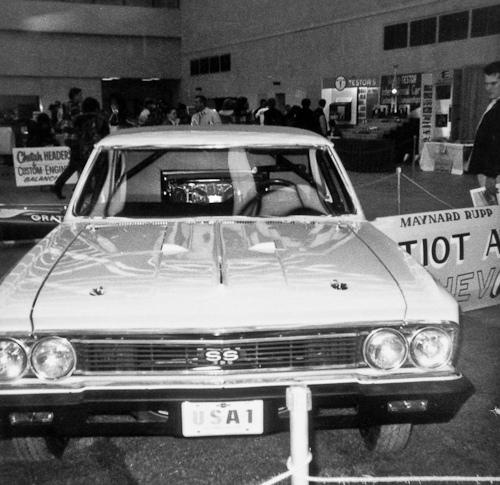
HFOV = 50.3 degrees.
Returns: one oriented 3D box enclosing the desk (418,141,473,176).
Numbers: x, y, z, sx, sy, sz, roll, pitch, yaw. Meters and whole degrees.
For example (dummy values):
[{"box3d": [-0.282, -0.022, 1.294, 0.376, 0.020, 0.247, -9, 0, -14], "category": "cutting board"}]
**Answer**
[{"box3d": [6.079, -2.716, 16.478, 1.341, 0.925, 1.458, 8, 14, 21], "category": "desk"}]
